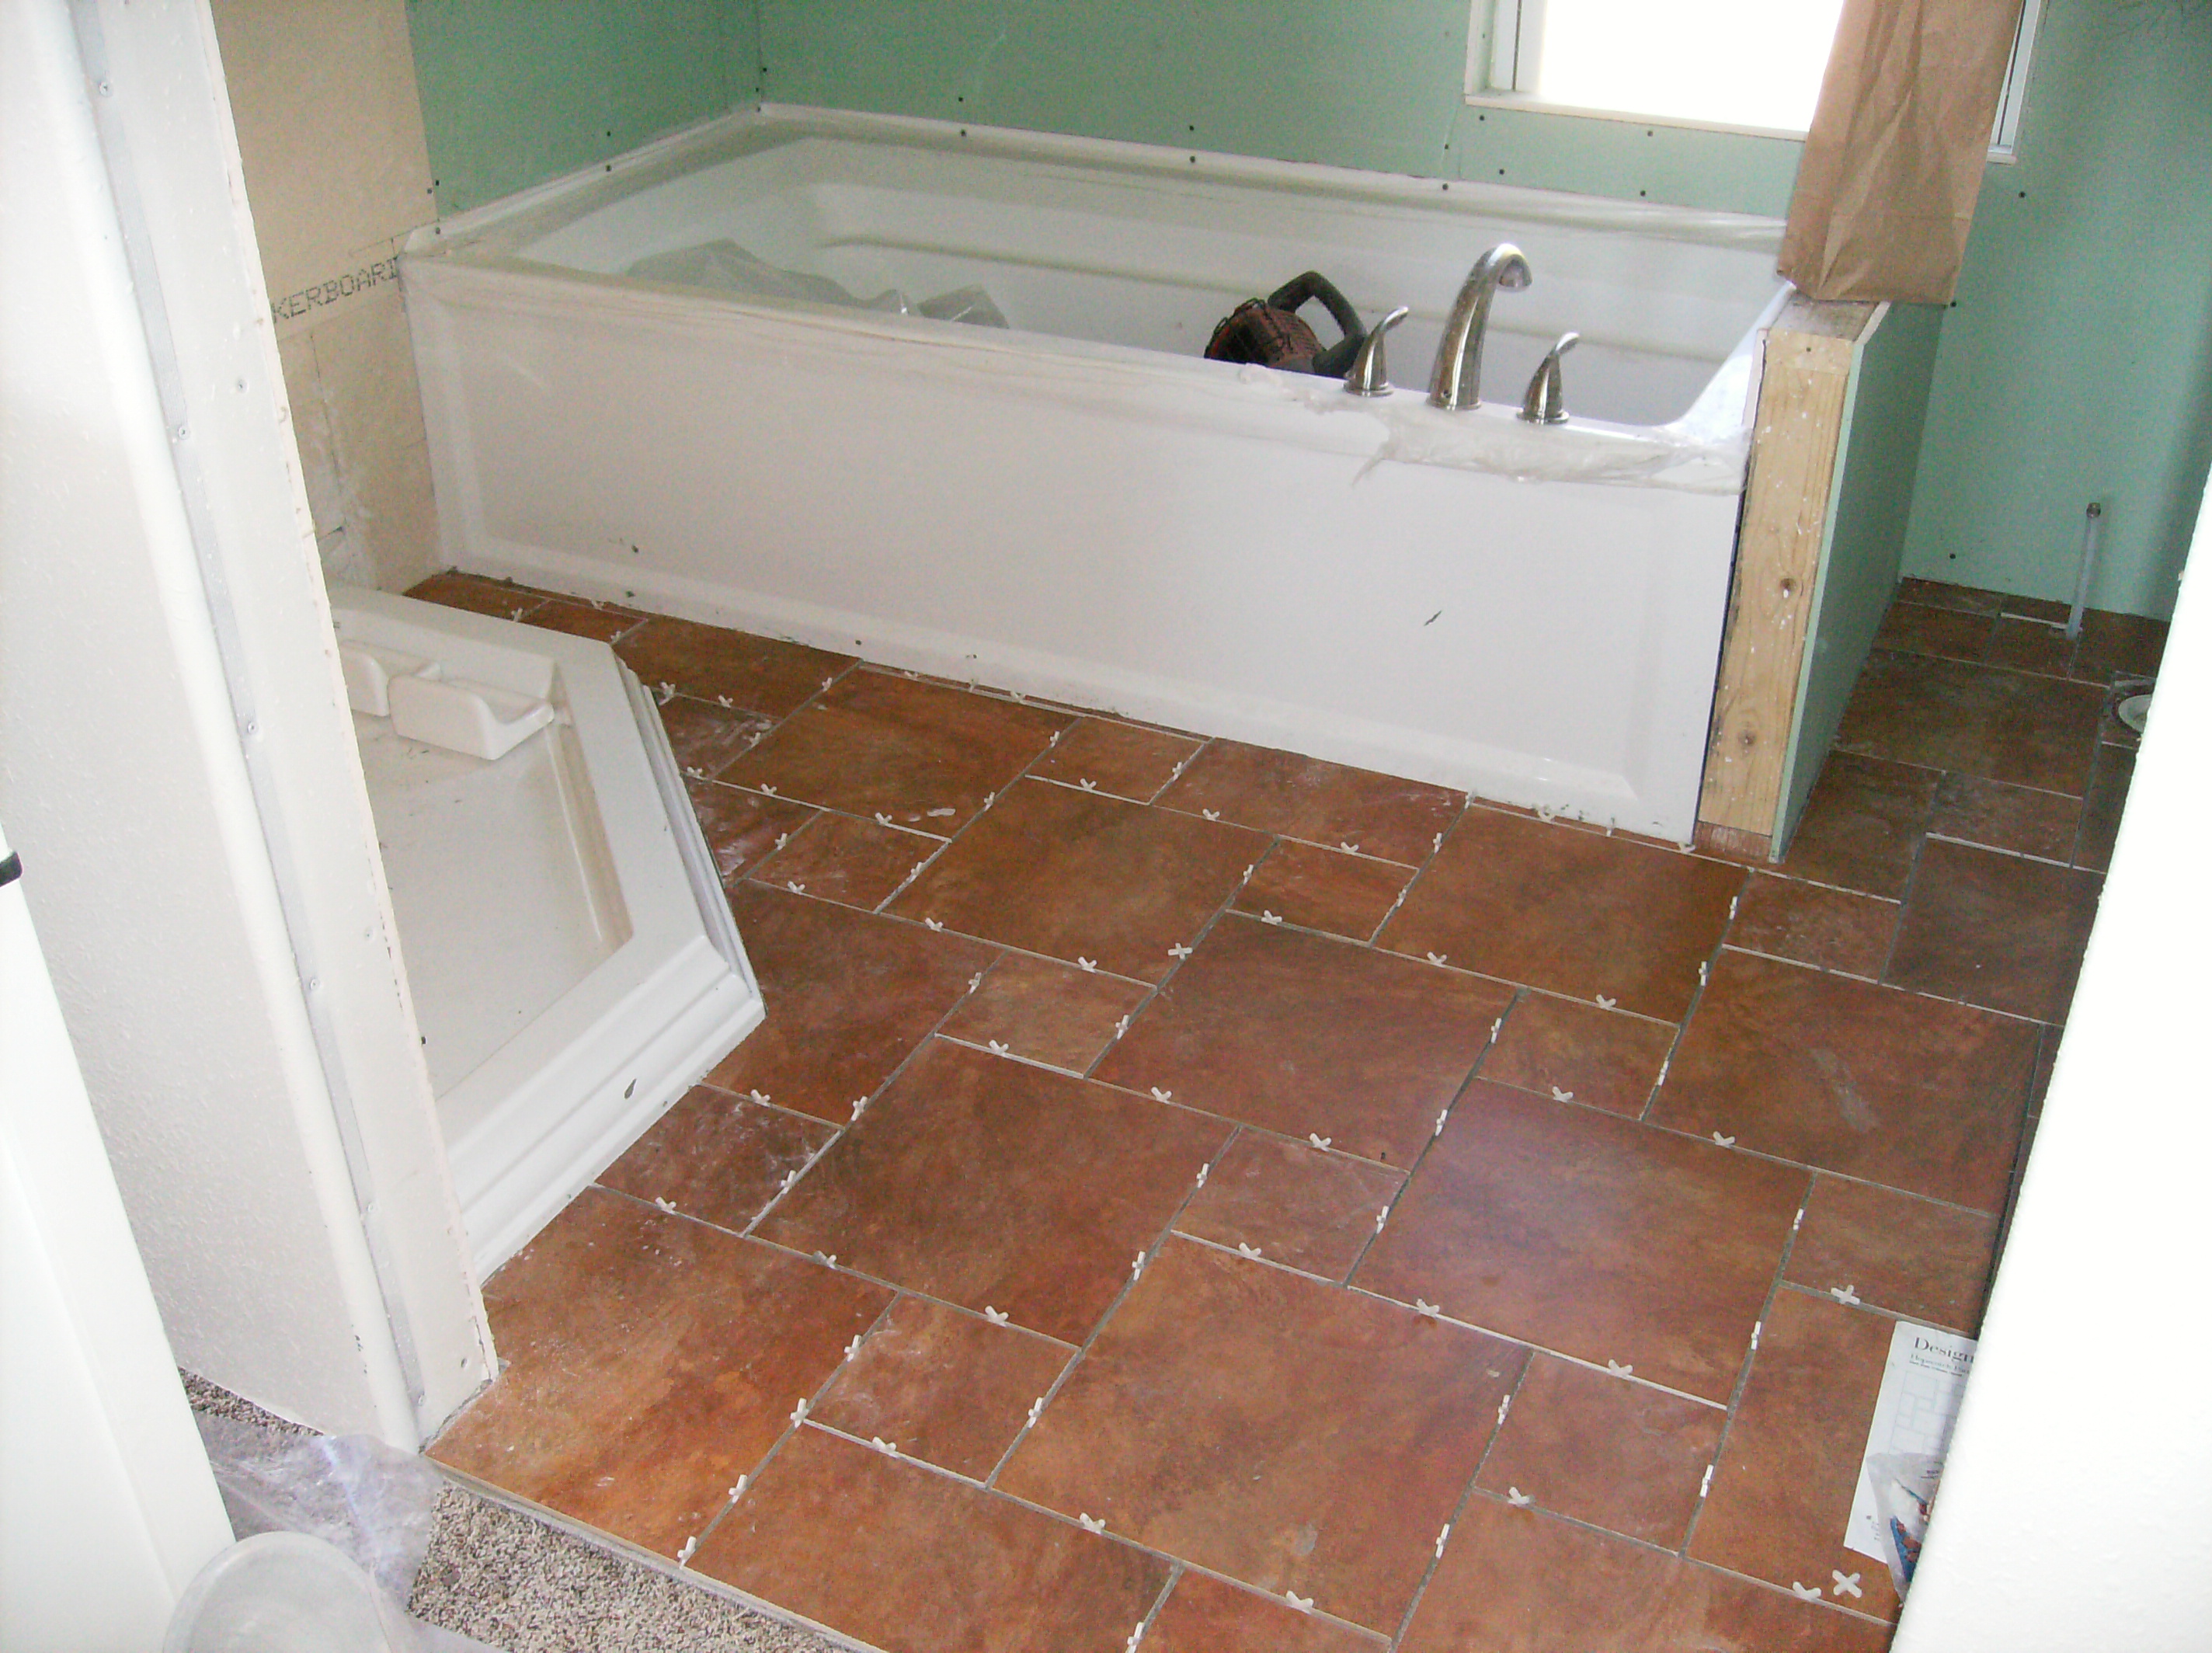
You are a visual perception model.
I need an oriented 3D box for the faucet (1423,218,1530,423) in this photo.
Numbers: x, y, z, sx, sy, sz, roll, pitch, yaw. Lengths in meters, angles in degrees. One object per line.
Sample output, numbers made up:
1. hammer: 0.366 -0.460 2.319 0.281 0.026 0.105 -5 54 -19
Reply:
1. faucet: 0.632 -0.867 2.857 0.134 0.277 0.288 7 34 9
